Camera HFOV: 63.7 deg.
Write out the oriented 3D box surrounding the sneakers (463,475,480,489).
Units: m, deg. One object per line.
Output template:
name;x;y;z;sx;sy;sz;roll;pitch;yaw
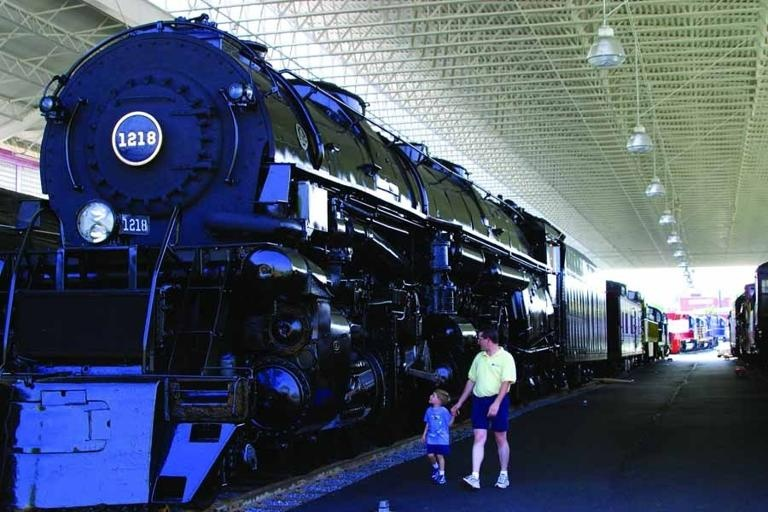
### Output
sneakers;1.152;2.909;8.009;0.114;0.142;0.312;-13;-45;41
